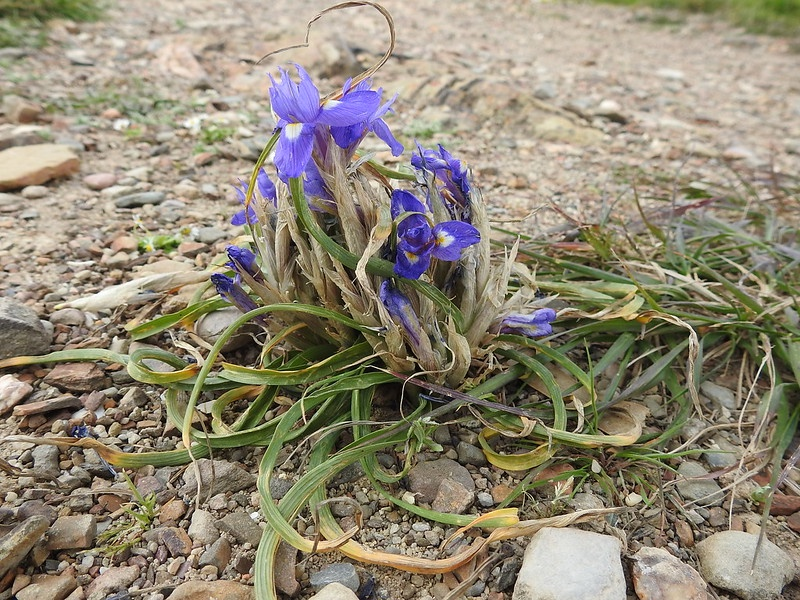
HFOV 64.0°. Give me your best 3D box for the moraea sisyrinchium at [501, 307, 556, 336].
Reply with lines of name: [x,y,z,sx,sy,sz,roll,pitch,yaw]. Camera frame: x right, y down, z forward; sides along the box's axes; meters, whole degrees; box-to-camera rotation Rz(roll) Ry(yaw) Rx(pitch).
moraea sisyrinchium: [0.442,0.084,2.166,0.177,0.069,0.081,-9,52,26]
